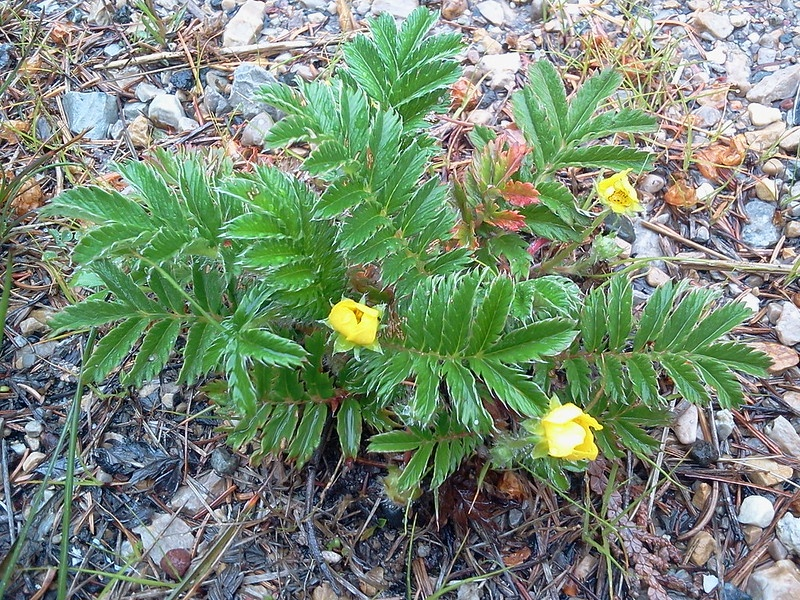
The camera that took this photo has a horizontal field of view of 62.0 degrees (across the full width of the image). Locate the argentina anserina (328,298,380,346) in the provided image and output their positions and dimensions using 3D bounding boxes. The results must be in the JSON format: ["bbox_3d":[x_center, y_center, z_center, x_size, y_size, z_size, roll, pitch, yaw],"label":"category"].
[{"bbox_3d":[-0.154,0.089,2.277,0.166,0.222,0.152,5,63,-2],"label":"argentina anserina"}]

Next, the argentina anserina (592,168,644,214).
[{"bbox_3d":[0.845,-0.404,2.576,0.144,0.142,0.167,-22,68,-14],"label":"argentina anserina"}]

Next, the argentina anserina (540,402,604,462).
[{"bbox_3d":[0.557,0.436,2.275,0.186,0.181,0.196,-4,86,-44],"label":"argentina anserina"}]
